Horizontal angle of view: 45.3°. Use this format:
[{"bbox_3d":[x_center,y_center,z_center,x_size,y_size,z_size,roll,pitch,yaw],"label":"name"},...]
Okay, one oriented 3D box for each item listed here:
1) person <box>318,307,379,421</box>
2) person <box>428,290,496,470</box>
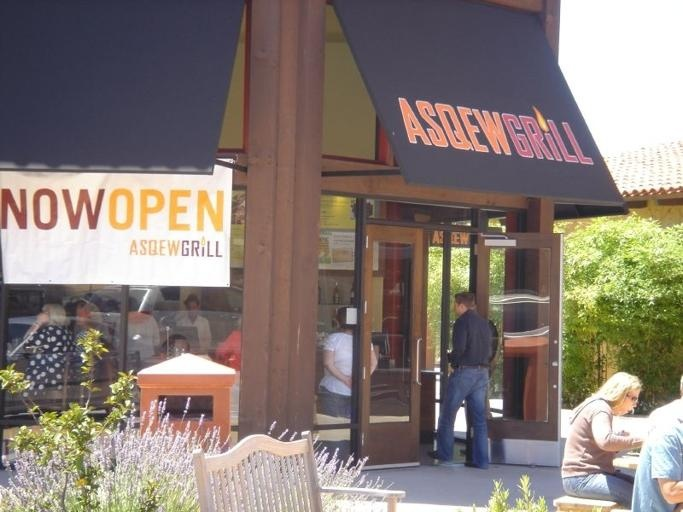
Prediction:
[{"bbox_3d":[-0.057,1.354,10.314,0.508,1.388,0.175,3,-9,-32],"label":"person"},{"bbox_3d":[1.672,1.673,11.100,0.774,2.350,0.376,-2,-7,6],"label":"person"}]
